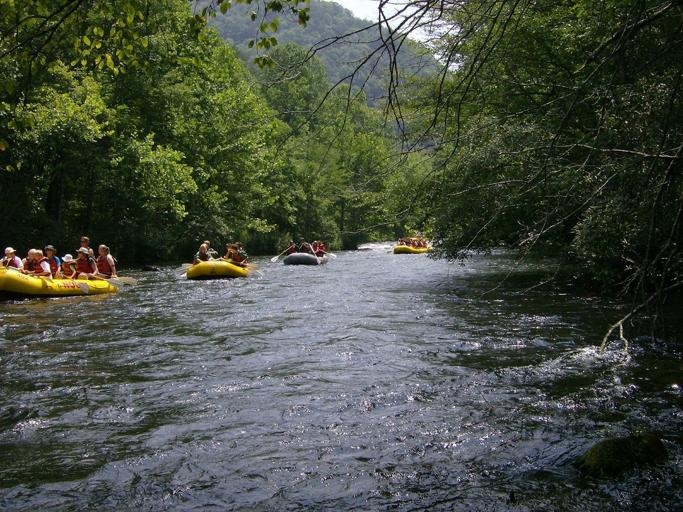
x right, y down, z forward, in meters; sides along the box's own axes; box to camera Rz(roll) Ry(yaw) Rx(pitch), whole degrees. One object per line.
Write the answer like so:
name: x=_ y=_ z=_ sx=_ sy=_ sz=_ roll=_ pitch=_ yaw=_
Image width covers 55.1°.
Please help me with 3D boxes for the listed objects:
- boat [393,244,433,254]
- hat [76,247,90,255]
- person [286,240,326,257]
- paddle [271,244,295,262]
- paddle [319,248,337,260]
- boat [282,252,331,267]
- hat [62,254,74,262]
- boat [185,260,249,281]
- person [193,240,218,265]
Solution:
boat: x=4.693 y=-0.494 z=42.158 sx=1.837 sy=0.469 sz=2.159 roll=5 pitch=11 yaw=39
hat: x=-6.922 y=-0.152 z=17.570 sx=0.300 sy=0.094 sz=0.312 roll=6 pitch=-3 yaw=-6
person: x=-1.859 y=-0.404 z=33.952 sx=1.024 sy=0.565 sz=1.971 roll=0 pitch=6 yaw=6
paddle: x=-3.412 y=-0.181 z=37.629 sx=2.070 sy=0.282 sz=0.143 roll=-37 pitch=-28 yaw=24
paddle: x=-0.837 y=-0.156 z=39.956 sx=1.016 sy=0.855 sz=2.871 roll=-3 pitch=-4 yaw=7
boat: x=-1.614 y=0.163 z=30.620 sx=1.501 sy=0.697 sz=2.210 roll=1 pitch=9 yaw=19
hat: x=-8.640 y=0.047 z=20.657 sx=0.339 sy=0.130 sz=0.362 roll=9 pitch=0 yaw=-32
boat: x=-4.158 y=0.495 z=21.902 sx=1.990 sy=0.667 sz=0.925 roll=-4 pitch=9 yaw=-16
person: x=-5.688 y=-0.160 z=27.104 sx=0.906 sy=1.097 sz=0.796 roll=26 pitch=32 yaw=31
